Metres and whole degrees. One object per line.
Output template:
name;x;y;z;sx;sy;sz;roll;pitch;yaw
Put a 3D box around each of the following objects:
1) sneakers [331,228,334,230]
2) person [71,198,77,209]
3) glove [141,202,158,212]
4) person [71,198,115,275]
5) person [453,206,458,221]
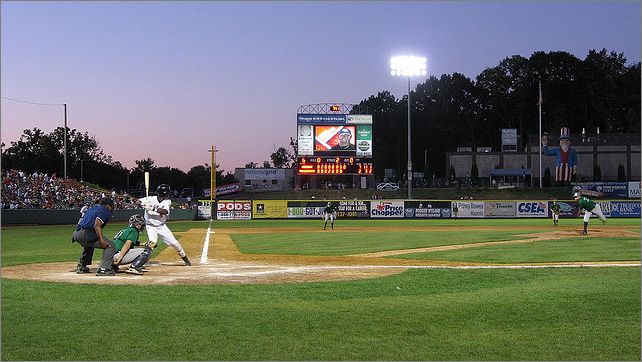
sneakers;0.837;3.531;44.509;0.192;0.194;0.127;-4;10;-11
person;-21.917;1.994;53.016;0.747;0.827;0.366;-6;-9;28
glove;-6.677;1.004;23.257;0.705;0.370;0.197;-2;-2;25
person;-8.421;2.067;22.254;1.342;2.820;1.089;-3;-2;41
person;12.850;2.992;57.163;0.482;1.231;0.768;-2;-2;10
